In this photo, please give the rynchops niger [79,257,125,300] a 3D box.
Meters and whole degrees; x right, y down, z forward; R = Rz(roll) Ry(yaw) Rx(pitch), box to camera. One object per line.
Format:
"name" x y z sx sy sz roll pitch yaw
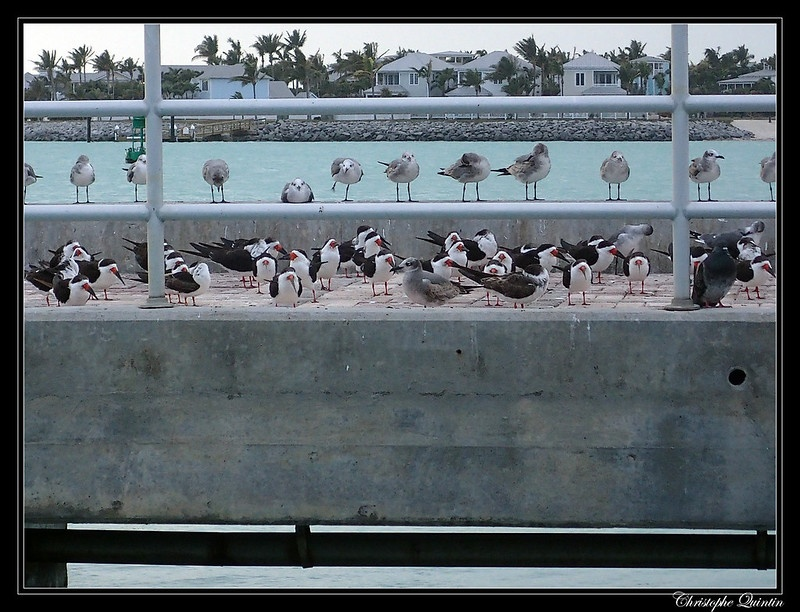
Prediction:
"rynchops niger" -2.410 -0.322 13.370 0.190 0.290 0.546 -12 33 -28
